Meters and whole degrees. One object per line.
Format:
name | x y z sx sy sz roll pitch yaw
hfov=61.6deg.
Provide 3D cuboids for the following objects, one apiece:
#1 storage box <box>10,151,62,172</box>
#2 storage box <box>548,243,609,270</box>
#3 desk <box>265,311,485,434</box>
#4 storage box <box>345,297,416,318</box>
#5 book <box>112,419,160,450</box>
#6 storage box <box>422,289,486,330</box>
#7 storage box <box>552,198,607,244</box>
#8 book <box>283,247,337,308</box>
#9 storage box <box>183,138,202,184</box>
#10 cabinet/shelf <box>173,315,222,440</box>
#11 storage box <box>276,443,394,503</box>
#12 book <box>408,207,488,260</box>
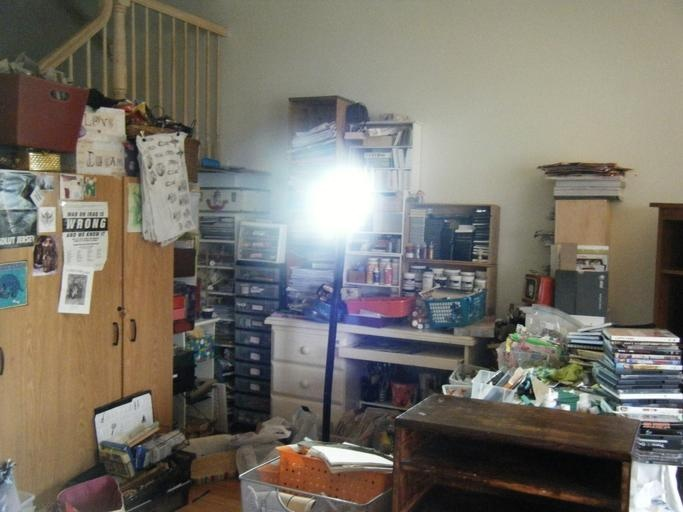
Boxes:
storage box | -1.707 -0.531 3.185 0.198 0.133 0.039 2 3 -41
storage box | 1.569 0.007 3.798 0.354 0.181 0.312 2 2 23
desk | 0.253 0.807 4.044 0.892 0.582 0.321 3 0 20
storage box | 0.305 0.376 4.349 0.293 0.088 0.237 0 2 25
book | -1.309 1.136 3.631 0.181 0.046 0.187 -2 7 24
storage box | 0.812 0.377 4.095 0.277 0.187 0.405 -9 6 -26
storage box | 1.631 -0.235 3.946 0.313 0.307 0.323 1 4 15
book | -0.261 0.165 4.758 0.411 0.351 0.521 1 6 14
storage box | -1.091 -0.708 4.186 0.069 0.332 0.239 1 2 -3
cabinet/shelf | -1.143 0.966 4.537 0.317 0.944 0.730 2 2 15
storage box | -0.040 0.923 2.442 0.352 0.120 0.238 7 2 25
book | 0.830 -0.188 4.464 0.651 0.425 0.085 2 2 23
